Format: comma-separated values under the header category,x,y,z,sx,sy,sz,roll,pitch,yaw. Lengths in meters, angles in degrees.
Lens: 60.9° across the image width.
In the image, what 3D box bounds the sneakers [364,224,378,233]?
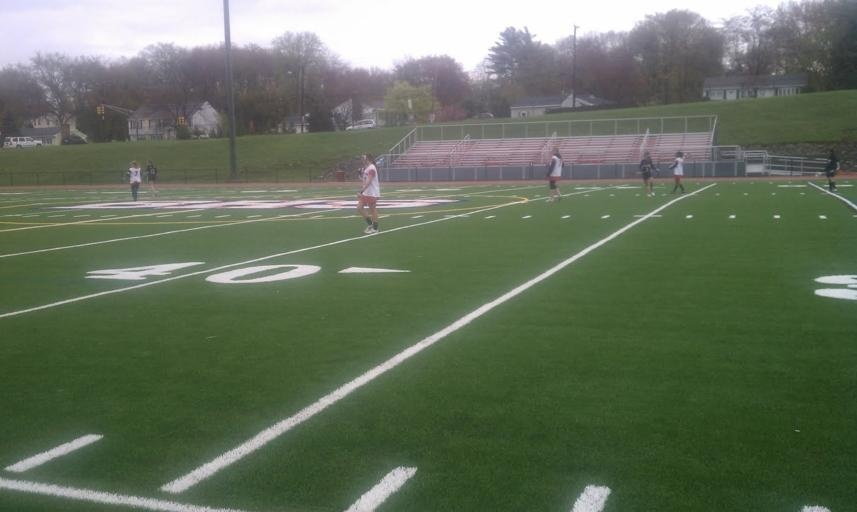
category,x,y,z,sx,sy,sz,roll,pitch,yaw
sneakers,-1.376,-0.689,17.977,0.443,0.294,0.154,-3,3,-44

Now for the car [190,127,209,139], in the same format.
category,x,y,z,sx,sy,sz,roll,pitch,yaw
car,-30.444,-16.415,96.739,2.031,1.085,7.116,-6,17,-20
